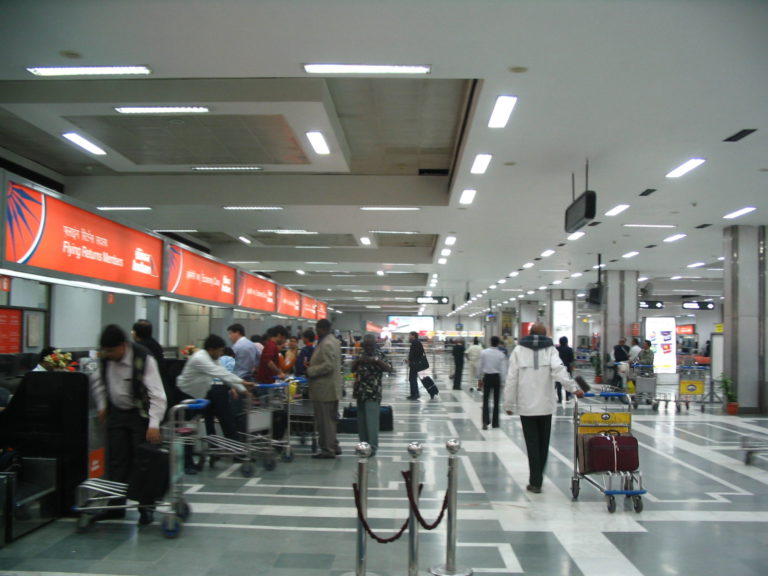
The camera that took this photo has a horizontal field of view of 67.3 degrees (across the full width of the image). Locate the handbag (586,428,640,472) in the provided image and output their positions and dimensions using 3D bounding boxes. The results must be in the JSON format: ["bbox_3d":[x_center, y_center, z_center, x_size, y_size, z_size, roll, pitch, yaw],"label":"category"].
[{"bbox_3d":[2.678,1.884,6.723,0.629,0.422,0.486,3,-17,2],"label":"handbag"}]

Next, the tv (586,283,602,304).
[{"bbox_3d":[5.889,0.162,16.122,0.362,0.644,1.160,-2,-10,20],"label":"tv"}]

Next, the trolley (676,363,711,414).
[{"bbox_3d":[7.891,2.590,15.178,0.794,1.171,0.853,2,3,8],"label":"trolley"}]

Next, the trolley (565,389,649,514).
[{"bbox_3d":[2.713,1.858,6.799,0.747,1.237,1.102,0,-6,-1],"label":"trolley"}]

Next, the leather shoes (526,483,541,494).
[{"bbox_3d":[1.831,2.448,7.124,0.183,0.068,0.077,5,3,37],"label":"leather shoes"}]

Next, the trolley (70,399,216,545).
[{"bbox_3d":[-2.566,1.825,6.086,1.219,1.144,0.798,0,-9,-17],"label":"trolley"}]
